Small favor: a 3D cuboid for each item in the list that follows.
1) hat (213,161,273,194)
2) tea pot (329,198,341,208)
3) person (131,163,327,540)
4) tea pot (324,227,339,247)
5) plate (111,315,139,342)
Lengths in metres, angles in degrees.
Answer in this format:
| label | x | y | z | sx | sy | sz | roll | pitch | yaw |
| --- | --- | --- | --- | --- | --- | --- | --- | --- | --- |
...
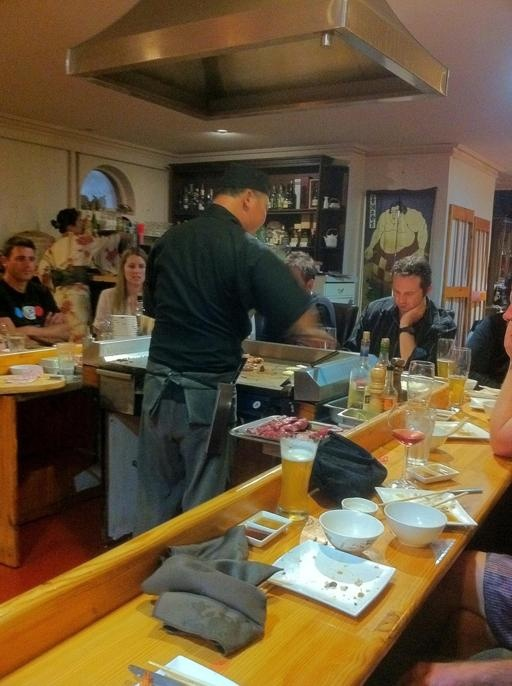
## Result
| label | x | y | z | sx | sy | sz | roll | pitch | yaw |
| --- | --- | --- | --- | --- | --- | --- | --- | --- | --- |
| hat | -0.036 | -0.662 | 2.116 | 0.137 | 0.076 | 0.187 | 4 | 7 | 24 |
| tea pot | 0.952 | -1.691 | 6.415 | 0.133 | 0.114 | 0.130 | 0 | 4 | 0 |
| person | -0.133 | 0.049 | 2.069 | 0.690 | 1.465 | 0.423 | 2 | 9 | -3 |
| tea pot | 0.915 | -1.287 | 6.508 | 0.260 | 0.226 | 0.163 | 3 | -3 | 2 |
| plate | -0.666 | -0.076 | 2.748 | 0.134 | 0.121 | 0.124 | 5 | 11 | 18 |
